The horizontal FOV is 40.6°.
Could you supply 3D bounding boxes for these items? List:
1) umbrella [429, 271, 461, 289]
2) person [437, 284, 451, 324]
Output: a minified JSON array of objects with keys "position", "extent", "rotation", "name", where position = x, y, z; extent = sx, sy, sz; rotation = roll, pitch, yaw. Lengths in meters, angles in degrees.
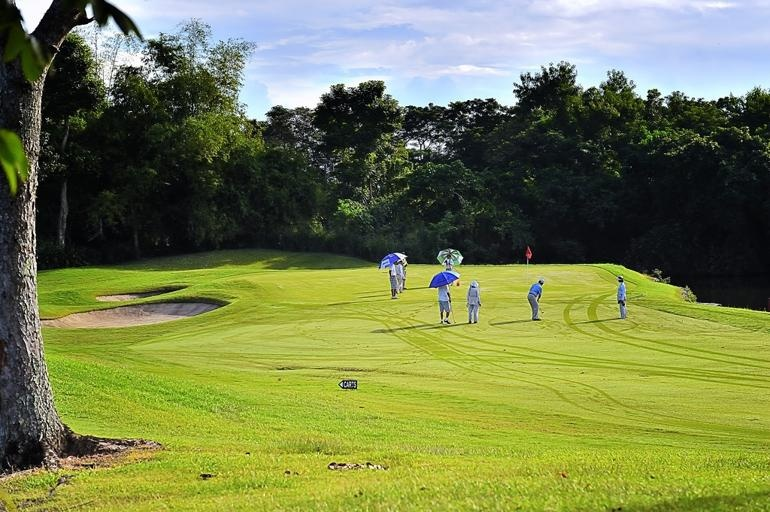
[{"position":[3.321,1.373,57.474],"extent":[1.380,0.986,2.010],"rotation":[0,13,4],"name":"umbrella"},{"position":[3.382,2.543,58.316],"extent":[0.644,2.283,1.426],"rotation":[0,13,4],"name":"person"}]
